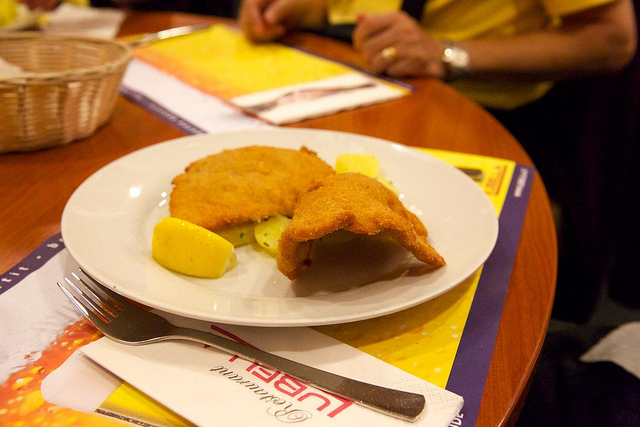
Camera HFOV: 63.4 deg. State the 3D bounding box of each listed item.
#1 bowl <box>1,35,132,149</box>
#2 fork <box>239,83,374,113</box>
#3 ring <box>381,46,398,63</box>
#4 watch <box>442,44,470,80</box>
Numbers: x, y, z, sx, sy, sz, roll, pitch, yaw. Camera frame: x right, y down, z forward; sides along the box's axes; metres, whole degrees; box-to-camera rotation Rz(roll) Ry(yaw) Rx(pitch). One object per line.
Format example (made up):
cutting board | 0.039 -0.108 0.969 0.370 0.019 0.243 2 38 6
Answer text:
bowl | -0.749 -0.364 1.466 0.399 0.144 0.354 30 36 31
fork | -0.038 -0.410 1.767 0.484 0.020 0.082 -20 53 -22
ring | 0.270 -0.608 2.001 0.058 0.014 0.059 4 59 -7
watch | 0.575 -0.644 2.201 0.121 0.102 0.114 17 49 9
